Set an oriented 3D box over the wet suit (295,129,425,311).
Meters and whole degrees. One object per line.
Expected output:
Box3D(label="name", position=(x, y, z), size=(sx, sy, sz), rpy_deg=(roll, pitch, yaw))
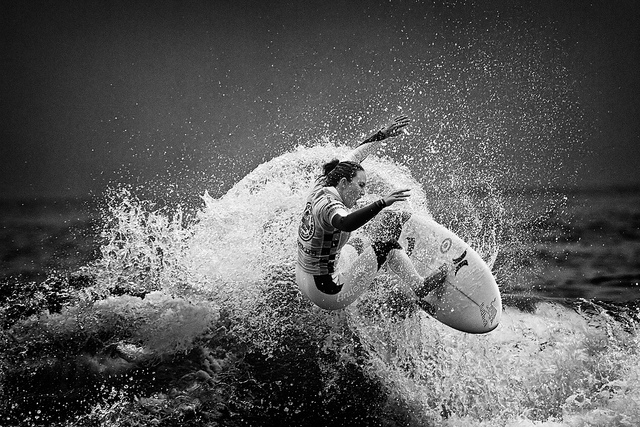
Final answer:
Box3D(label="wet suit", position=(0.337, 0.116, 5.934), size=(0.946, 1.587, 1.481), rpy_deg=(-4, 6, -29))
